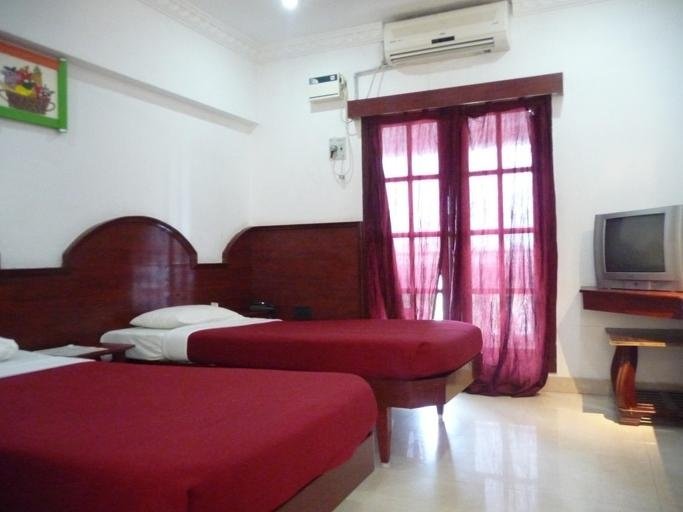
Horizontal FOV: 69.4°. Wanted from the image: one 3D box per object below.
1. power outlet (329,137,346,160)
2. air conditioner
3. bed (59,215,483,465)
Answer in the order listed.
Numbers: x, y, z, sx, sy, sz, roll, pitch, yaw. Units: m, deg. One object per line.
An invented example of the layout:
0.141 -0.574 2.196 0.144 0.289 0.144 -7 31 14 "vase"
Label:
-0.037 -1.086 4.959 0.218 0.240 0.116 0 0 30 "power outlet"
0.923 -2.008 4.474 1.118 0.408 0.238 0 5 19 "air conditioner"
-0.512 0.314 4.006 1.919 1.305 2.057 -1 0 24 "bed"
